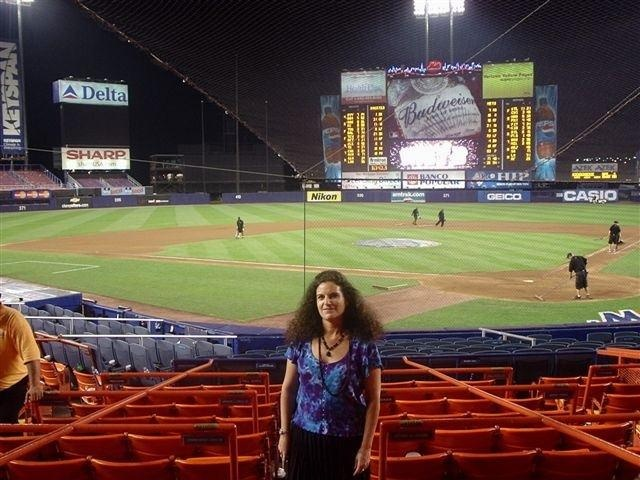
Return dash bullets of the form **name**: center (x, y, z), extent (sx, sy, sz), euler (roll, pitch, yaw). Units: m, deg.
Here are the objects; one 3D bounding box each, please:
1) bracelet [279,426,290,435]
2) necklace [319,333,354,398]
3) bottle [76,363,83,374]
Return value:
- **bracelet**: center (-0.389, 2.068, 7.374), extent (0.099, 0.042, 0.068), euler (0, -2, 15)
- **necklace**: center (0.176, 1.352, 7.201), extent (0.268, 0.691, 0.039), euler (5, -41, 3)
- **bottle**: center (-4.631, 2.470, 13.177), extent (0.175, 0.153, 0.158), euler (-1, 6, -28)
